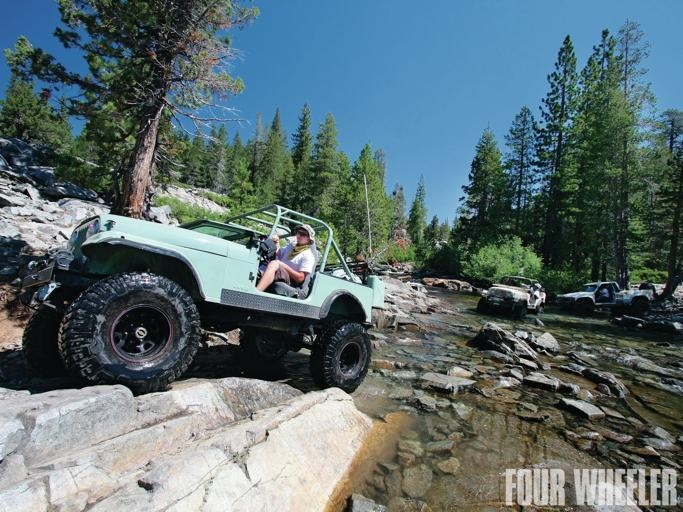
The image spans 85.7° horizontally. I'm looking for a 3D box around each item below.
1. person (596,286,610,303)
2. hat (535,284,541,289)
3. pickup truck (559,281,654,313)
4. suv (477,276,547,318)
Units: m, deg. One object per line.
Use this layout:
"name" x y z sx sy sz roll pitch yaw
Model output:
"person" 16.202 2.333 22.844 0.858 0.593 0.731 9 -10 -32
"hat" 11.343 1.674 21.246 0.337 0.123 0.375 8 -2 12
"pickup truck" 16.303 2.609 22.957 4.560 1.901 1.284 8 5 8
"suv" 9.269 2.140 19.721 2.091 1.969 4.022 -9 -23 43
